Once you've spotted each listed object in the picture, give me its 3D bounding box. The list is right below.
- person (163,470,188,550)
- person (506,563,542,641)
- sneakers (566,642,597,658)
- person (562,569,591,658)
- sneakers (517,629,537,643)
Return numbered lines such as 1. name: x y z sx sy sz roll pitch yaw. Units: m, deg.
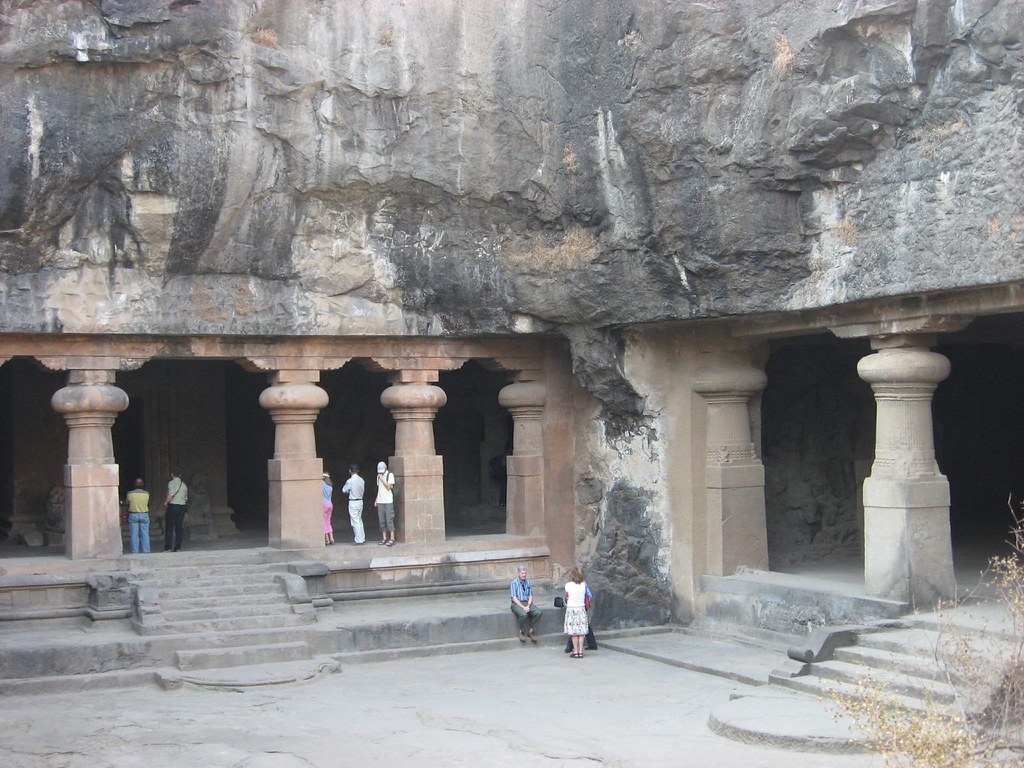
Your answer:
1. person: -4.558 1.729 19.043 0.357 1.042 0.814 -7 15 -14
2. person: 0.154 2.753 17.972 0.366 1.024 0.632 -3 14 -1
3. sneakers: 0.864 3.342 17.618 0.141 0.247 0.394 5 -10 -42
4. person: 0.795 2.817 17.508 0.315 1.117 0.802 -2 14 2
5. sneakers: 0.201 3.202 17.809 0.111 0.125 0.313 1 -7 -19
